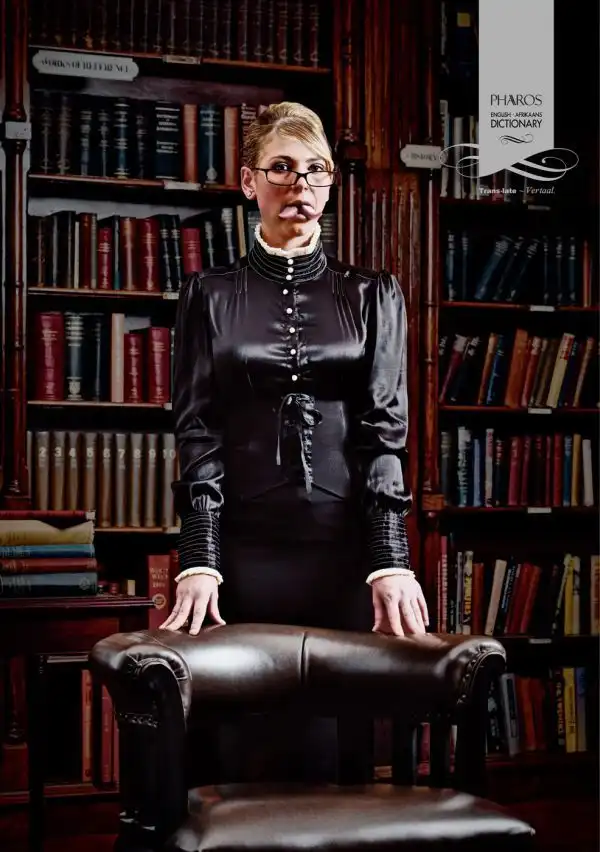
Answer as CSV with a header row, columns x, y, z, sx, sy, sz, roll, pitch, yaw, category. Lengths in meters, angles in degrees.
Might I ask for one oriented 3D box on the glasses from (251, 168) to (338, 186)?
x,y,z,sx,sy,sz,roll,pitch,yaw,category
0.005,-0.367,1.656,0.124,0.031,0.064,-2,5,-22,glasses
